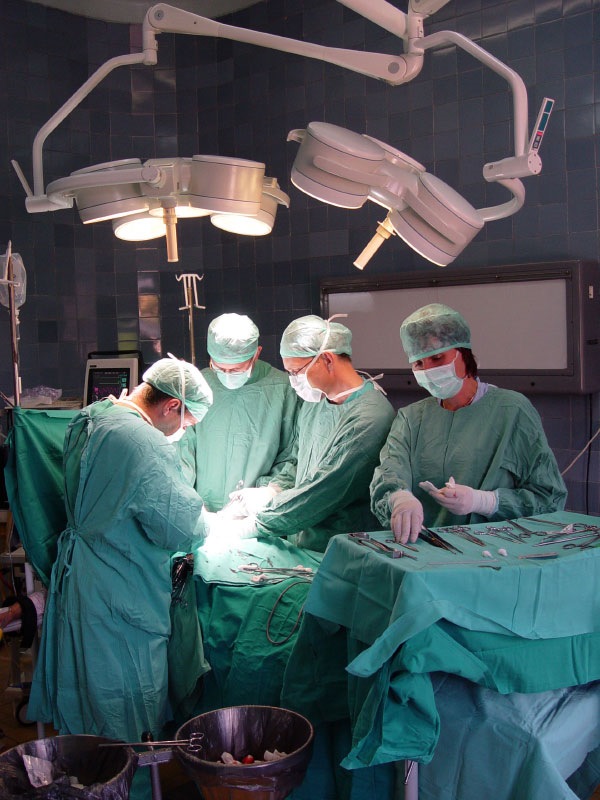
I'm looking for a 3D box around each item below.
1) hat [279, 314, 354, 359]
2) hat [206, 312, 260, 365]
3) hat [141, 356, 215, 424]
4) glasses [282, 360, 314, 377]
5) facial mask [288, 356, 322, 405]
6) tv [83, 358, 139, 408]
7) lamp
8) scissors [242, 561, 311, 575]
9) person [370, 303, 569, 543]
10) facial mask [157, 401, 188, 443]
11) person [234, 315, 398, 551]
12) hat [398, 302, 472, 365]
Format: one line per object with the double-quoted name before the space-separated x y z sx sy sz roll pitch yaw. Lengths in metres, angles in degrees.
"hat" 0.047 -0.195 2.349 0.198 0.110 0.137 -6 0 -2
"hat" -0.237 -0.216 2.711 0.198 0.136 0.185 8 35 6
"hat" -0.360 -0.015 2.218 0.232 0.178 0.167 3 -20 3
"glasses" -0.002 -0.104 2.341 0.062 0.030 0.063 1 9 30
"facial mask" 0.021 -0.052 2.383 0.076 0.118 0.126 4 -8 44
"tv" -1.050 -0.088 4.219 0.355 0.359 0.212 0 -6 12
"lamp" -0.097 -0.574 1.906 1.241 0.640 0.717 10 18 9
"scissors" -0.065 0.481 2.112 0.213 0.022 0.101 -3 -4 5
"person" 0.427 0.134 2.026 0.565 0.747 0.498 -2 1 31
"facial mask" -0.400 0.067 2.256 0.033 0.109 0.109 14 4 -14
"person" 0.039 0.098 2.393 0.574 0.718 0.541 -3 15 -11
"hat" 0.364 -0.182 2.090 0.179 0.135 0.170 -19 -1 38
